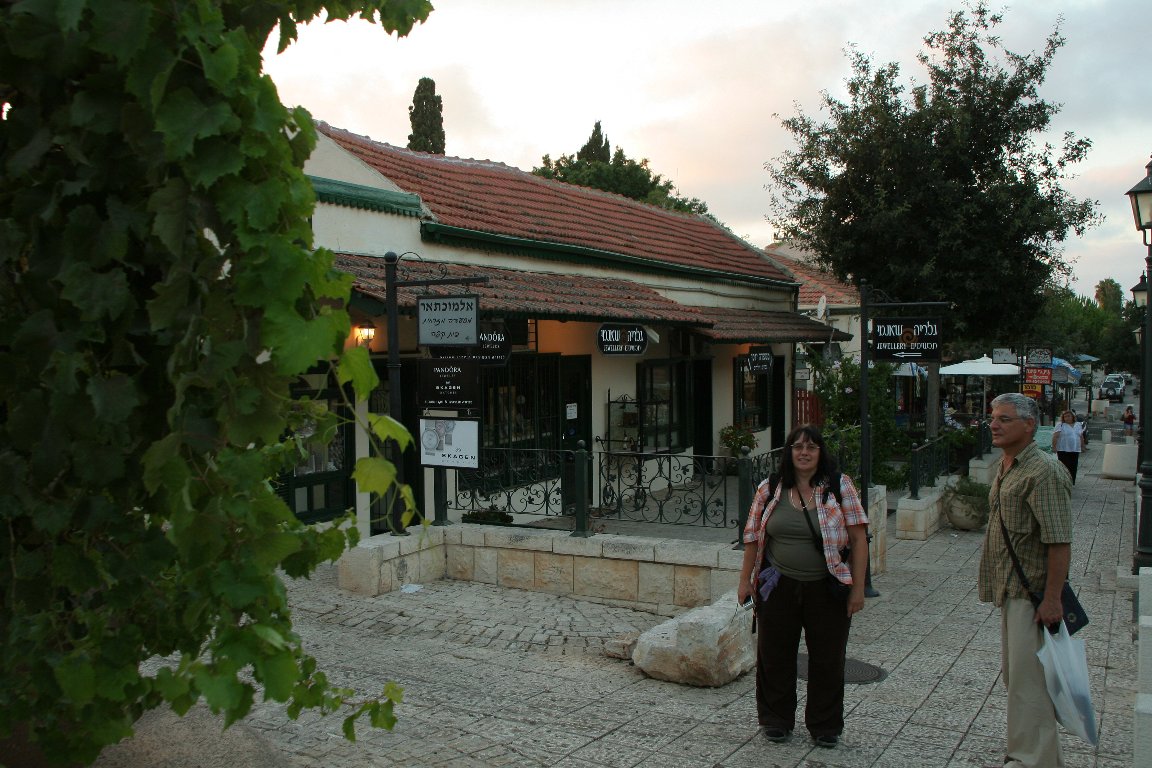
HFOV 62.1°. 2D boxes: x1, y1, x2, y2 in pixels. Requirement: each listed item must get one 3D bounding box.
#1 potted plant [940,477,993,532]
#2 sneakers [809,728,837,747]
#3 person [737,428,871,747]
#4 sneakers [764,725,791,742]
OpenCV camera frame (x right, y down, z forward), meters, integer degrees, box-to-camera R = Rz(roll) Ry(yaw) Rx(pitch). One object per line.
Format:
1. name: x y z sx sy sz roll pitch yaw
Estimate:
1. potted plant: 6.323 1.897 15.221 0.970 0.807 1.047 1 -2 -6
2. sneakers: 1.699 2.397 6.513 0.072 0.087 0.190 -2 -6 -43
3. person: 1.547 1.368 6.555 0.824 2.160 0.380 1 2 9
4. sneakers: 1.399 2.392 6.615 0.182 0.084 0.082 5 2 21
